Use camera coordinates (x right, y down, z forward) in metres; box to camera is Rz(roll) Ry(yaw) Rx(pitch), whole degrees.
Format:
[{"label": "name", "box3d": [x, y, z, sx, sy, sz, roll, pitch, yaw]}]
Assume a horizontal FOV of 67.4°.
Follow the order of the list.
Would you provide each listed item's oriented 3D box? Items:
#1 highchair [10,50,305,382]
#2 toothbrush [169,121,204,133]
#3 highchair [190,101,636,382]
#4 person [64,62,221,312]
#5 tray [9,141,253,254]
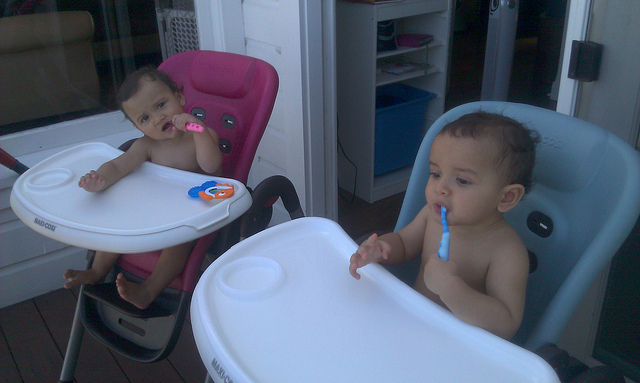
[{"label": "highchair", "box3d": [-0.511, 0.246, 2.056, 1.004, 1.427, 1.114, 15, 32, 29]}, {"label": "toothbrush", "box3d": [-0.473, -0.238, 1.766, 0.108, 0.024, 0.016, 25, 0, 31]}, {"label": "highchair", "box3d": [0.262, 0.357, 1.557, 1.048, 0.899, 0.903, -29, 51, -25]}, {"label": "person", "box3d": [-0.648, -0.045, 1.838, 0.443, 0.717, 0.740, 10, 33, 16]}, {"label": "tray", "box3d": [-0.761, 0.009, 1.725, 0.886, 0.092, 0.512, 19, 33, 31]}]
